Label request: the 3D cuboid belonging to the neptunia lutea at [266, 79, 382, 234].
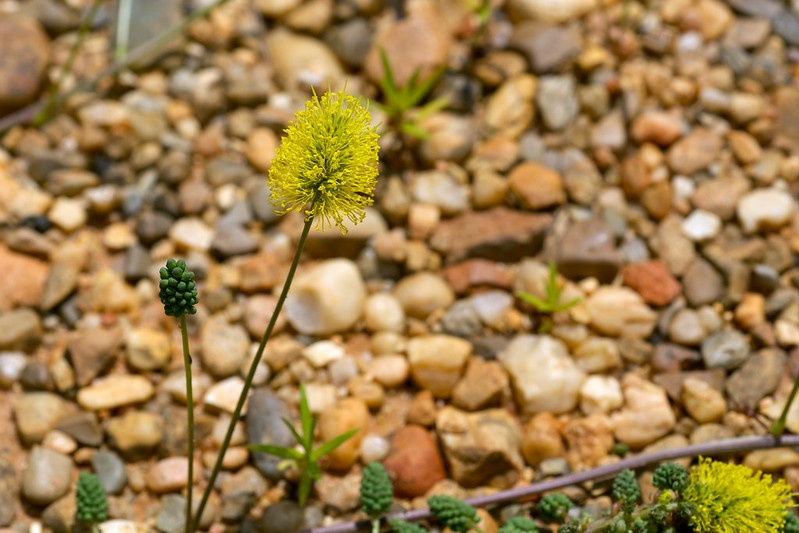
[{"bbox_3d":[-0.201,-0.290,2.767,0.255,0.360,0.301,1,-35,3],"label":"neptunia lutea"}]
